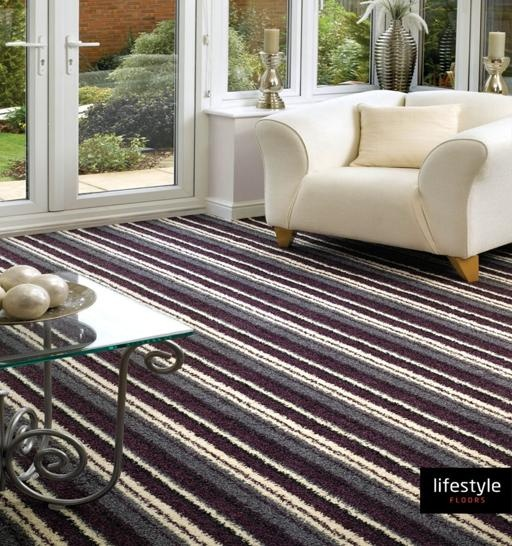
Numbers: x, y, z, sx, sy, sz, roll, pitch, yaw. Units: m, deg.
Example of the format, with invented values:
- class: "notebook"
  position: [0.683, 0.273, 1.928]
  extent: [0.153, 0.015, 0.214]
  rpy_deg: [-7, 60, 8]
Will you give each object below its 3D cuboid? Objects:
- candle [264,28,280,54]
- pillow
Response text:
- class: "candle"
  position: [0.109, -1.608, 3.808]
  extent: [0.090, 0.178, 0.123]
  rpy_deg: [4, 15, 8]
- class: "pillow"
  position: [0.844, -0.762, 3.059]
  extent: [0.676, 0.329, 0.199]
  rpy_deg: [2, -9, 12]
